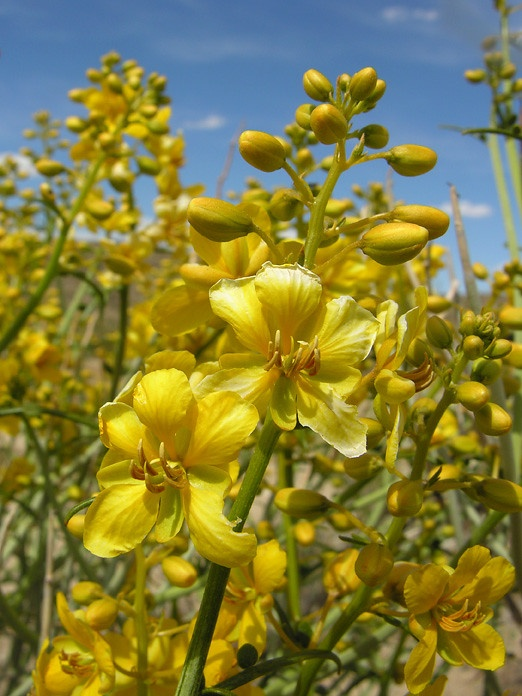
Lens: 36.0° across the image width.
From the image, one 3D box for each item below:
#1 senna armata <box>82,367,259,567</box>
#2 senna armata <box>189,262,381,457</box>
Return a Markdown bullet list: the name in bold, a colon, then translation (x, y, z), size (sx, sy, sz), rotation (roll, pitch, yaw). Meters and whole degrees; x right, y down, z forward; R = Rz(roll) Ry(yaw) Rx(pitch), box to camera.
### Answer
- **senna armata**: translation (-0.165, 0.223, 1.556), size (0.358, 0.343, 0.293), rotation (5, 19, 5)
- **senna armata**: translation (0.050, 0.045, 1.709), size (0.361, 0.399, 0.145), rotation (-19, -8, -15)
